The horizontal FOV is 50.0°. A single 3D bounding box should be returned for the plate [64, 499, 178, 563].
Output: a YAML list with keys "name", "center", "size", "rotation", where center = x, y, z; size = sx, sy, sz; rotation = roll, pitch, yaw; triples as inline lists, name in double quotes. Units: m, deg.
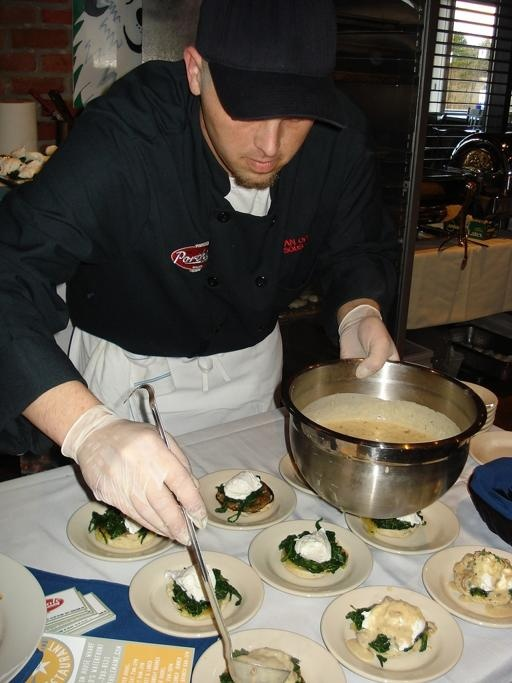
- name: "plate"
  center: [-0.250, 0.334, 0.936]
  size: [0.194, 0.026, 0.115]
  rotation: [11, 20, 26]

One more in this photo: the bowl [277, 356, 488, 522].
- name: "bowl"
  center: [0.180, 0.175, 0.959]
  size: [0.331, 0.187, 0.315]
  rotation: [3, 20, -1]

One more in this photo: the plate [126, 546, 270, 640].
- name: "plate"
  center: [-0.088, 0.365, 0.813]
  size: [0.197, 0.029, 0.171]
  rotation: [1, 18, -4]
